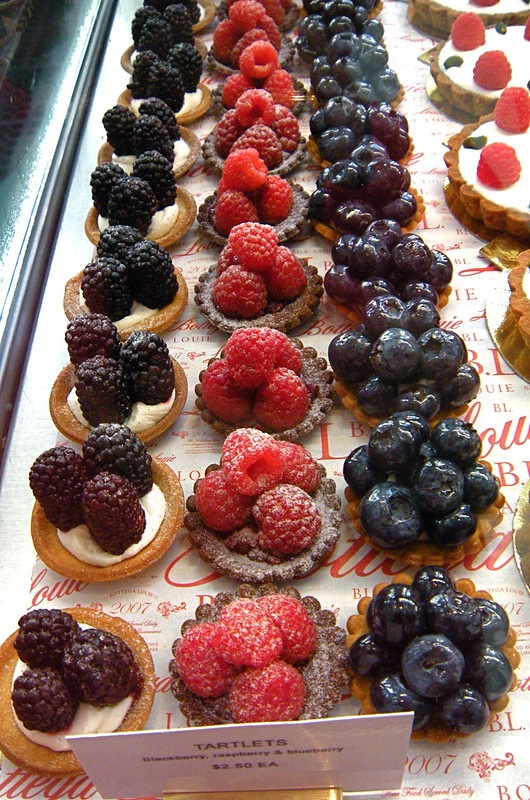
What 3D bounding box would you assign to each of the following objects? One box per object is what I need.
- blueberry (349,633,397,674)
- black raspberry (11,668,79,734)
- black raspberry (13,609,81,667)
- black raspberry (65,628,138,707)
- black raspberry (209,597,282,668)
[{"bbox_3d":[0.215,0.529,1.413,0.070,0.091,0.054,-48,65,9],"label":"blueberry"},{"bbox_3d":[-0.443,0.602,1.379,0.102,0.133,0.108,-34,57,-26],"label":"black raspberry"},{"bbox_3d":[-0.434,0.479,1.409,0.113,0.115,0.123,-4,61,-9],"label":"black raspberry"},{"bbox_3d":[-0.340,0.554,1.453,0.132,0.157,0.090,-16,18,-2],"label":"black raspberry"},{"bbox_3d":[-0.039,0.483,1.405,0.132,0.121,0.142,-26,54,-22],"label":"black raspberry"}]
